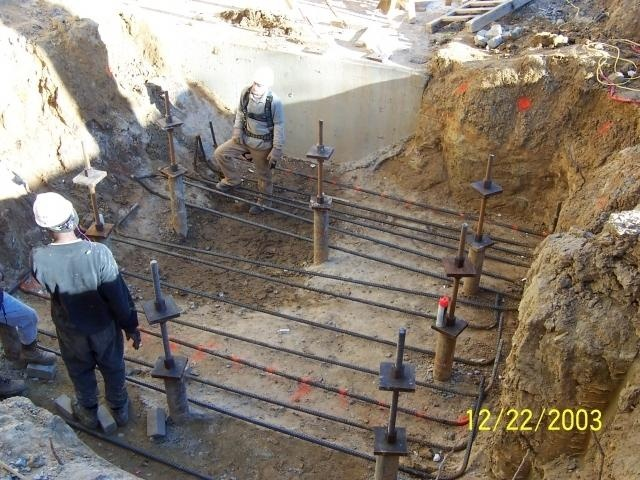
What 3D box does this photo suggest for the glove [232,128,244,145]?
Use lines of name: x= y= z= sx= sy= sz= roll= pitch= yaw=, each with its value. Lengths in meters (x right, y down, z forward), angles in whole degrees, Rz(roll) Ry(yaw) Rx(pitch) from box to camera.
glove: x=-1.190 y=-1.499 z=13.111 sx=0.171 sy=0.254 sz=0.152 roll=19 pitch=64 yaw=7

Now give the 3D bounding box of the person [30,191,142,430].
person: x=-2.484 y=0.784 z=9.494 sx=0.984 sy=2.507 sz=0.595 roll=16 pitch=30 yaw=26

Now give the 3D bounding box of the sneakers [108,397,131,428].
sneakers: x=-2.176 y=1.905 z=9.845 sx=0.126 sy=0.357 sz=0.153 roll=-9 pitch=-9 yaw=-6

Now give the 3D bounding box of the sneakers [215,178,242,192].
sneakers: x=-1.395 y=-0.828 z=13.643 sx=0.350 sy=0.165 sz=0.158 roll=-3 pitch=-17 yaw=5

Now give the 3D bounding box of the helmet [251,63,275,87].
helmet: x=-0.785 y=-2.250 z=12.538 sx=0.228 sy=0.259 sz=0.292 roll=5 pitch=26 yaw=5

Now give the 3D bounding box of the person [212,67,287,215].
person: x=-0.971 y=-1.400 z=13.033 sx=0.762 sy=2.234 sz=1.150 roll=-12 pitch=30 yaw=-26

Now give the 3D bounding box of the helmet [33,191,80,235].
helmet: x=-2.748 y=-0.289 z=9.258 sx=0.346 sy=0.248 sz=0.446 roll=-40 pitch=64 yaw=-10
